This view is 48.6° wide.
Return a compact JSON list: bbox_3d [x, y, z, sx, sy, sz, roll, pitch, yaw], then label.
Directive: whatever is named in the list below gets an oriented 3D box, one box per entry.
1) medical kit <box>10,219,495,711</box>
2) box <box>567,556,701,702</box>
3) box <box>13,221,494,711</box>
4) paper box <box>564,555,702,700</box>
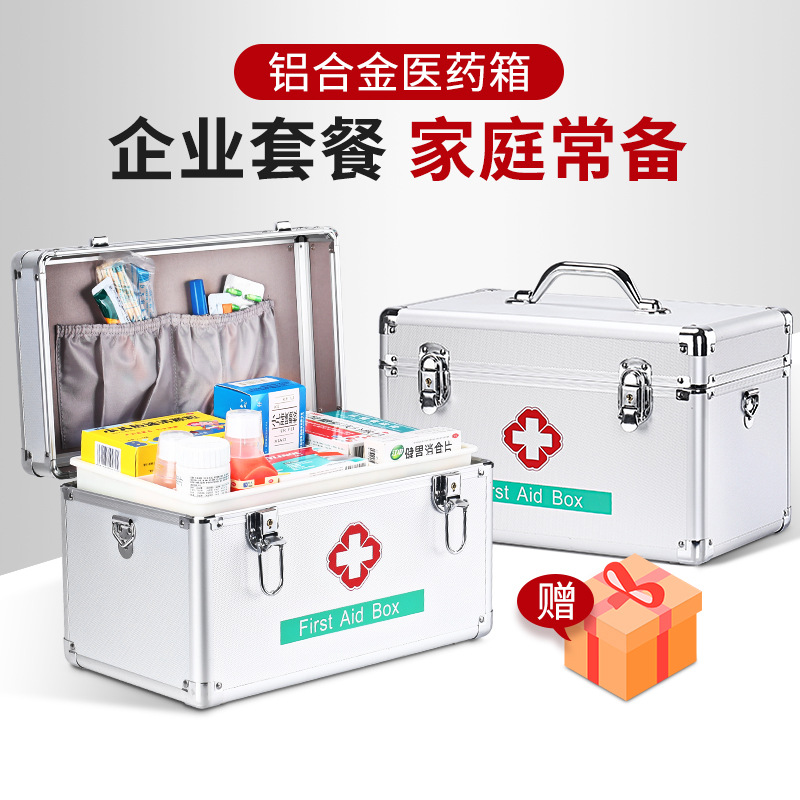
[{"bbox_3d":[-0.147,0.042,0.901,0.316,0.456,0.381,-4,1,45],"label":"medical kit"},{"bbox_3d":[0.213,0.186,0.819,0.121,0.103,0.141,2,30,17],"label":"box"},{"bbox_3d":[-0.152,0.026,0.895,0.401,0.420,0.396,-4,9,-37],"label":"box"},{"bbox_3d":[0.206,0.203,0.822,0.102,0.113,0.103,-18,26,-37],"label":"paper box"}]
